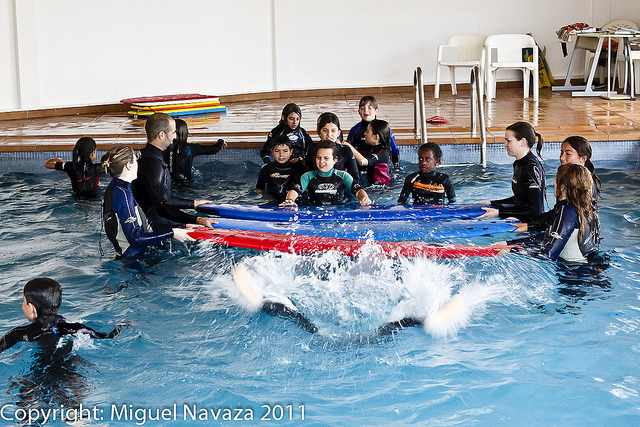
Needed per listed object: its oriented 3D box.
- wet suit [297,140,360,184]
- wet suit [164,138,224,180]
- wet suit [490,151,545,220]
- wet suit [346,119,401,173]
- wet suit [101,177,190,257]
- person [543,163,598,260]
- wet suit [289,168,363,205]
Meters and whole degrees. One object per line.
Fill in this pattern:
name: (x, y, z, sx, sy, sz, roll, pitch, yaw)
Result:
wet suit: (0.094, -0.527, 5.681, 0.976, 0.640, 0.295, -1, 22, -22)
wet suit: (-1.706, -0.721, 6.399, 0.869, 0.773, 0.250, 3, 21, 1)
wet suit: (2.000, -0.326, 4.808, 0.647, 0.728, 0.680, 1, 15, 14)
wet suit: (0.912, -0.953, 6.693, 0.277, 0.640, 0.777, -20, 11, -28)
wet suit: (-1.552, 0.040, 4.034, 0.531, 0.716, 0.297, 6, 17, 32)
person: (2.017, -0.002, 3.801, 0.621, 0.787, 0.244, -9, 16, -23)
wet suit: (0.068, -0.278, 5.206, 0.856, 0.431, 0.382, 1, -3, -8)
